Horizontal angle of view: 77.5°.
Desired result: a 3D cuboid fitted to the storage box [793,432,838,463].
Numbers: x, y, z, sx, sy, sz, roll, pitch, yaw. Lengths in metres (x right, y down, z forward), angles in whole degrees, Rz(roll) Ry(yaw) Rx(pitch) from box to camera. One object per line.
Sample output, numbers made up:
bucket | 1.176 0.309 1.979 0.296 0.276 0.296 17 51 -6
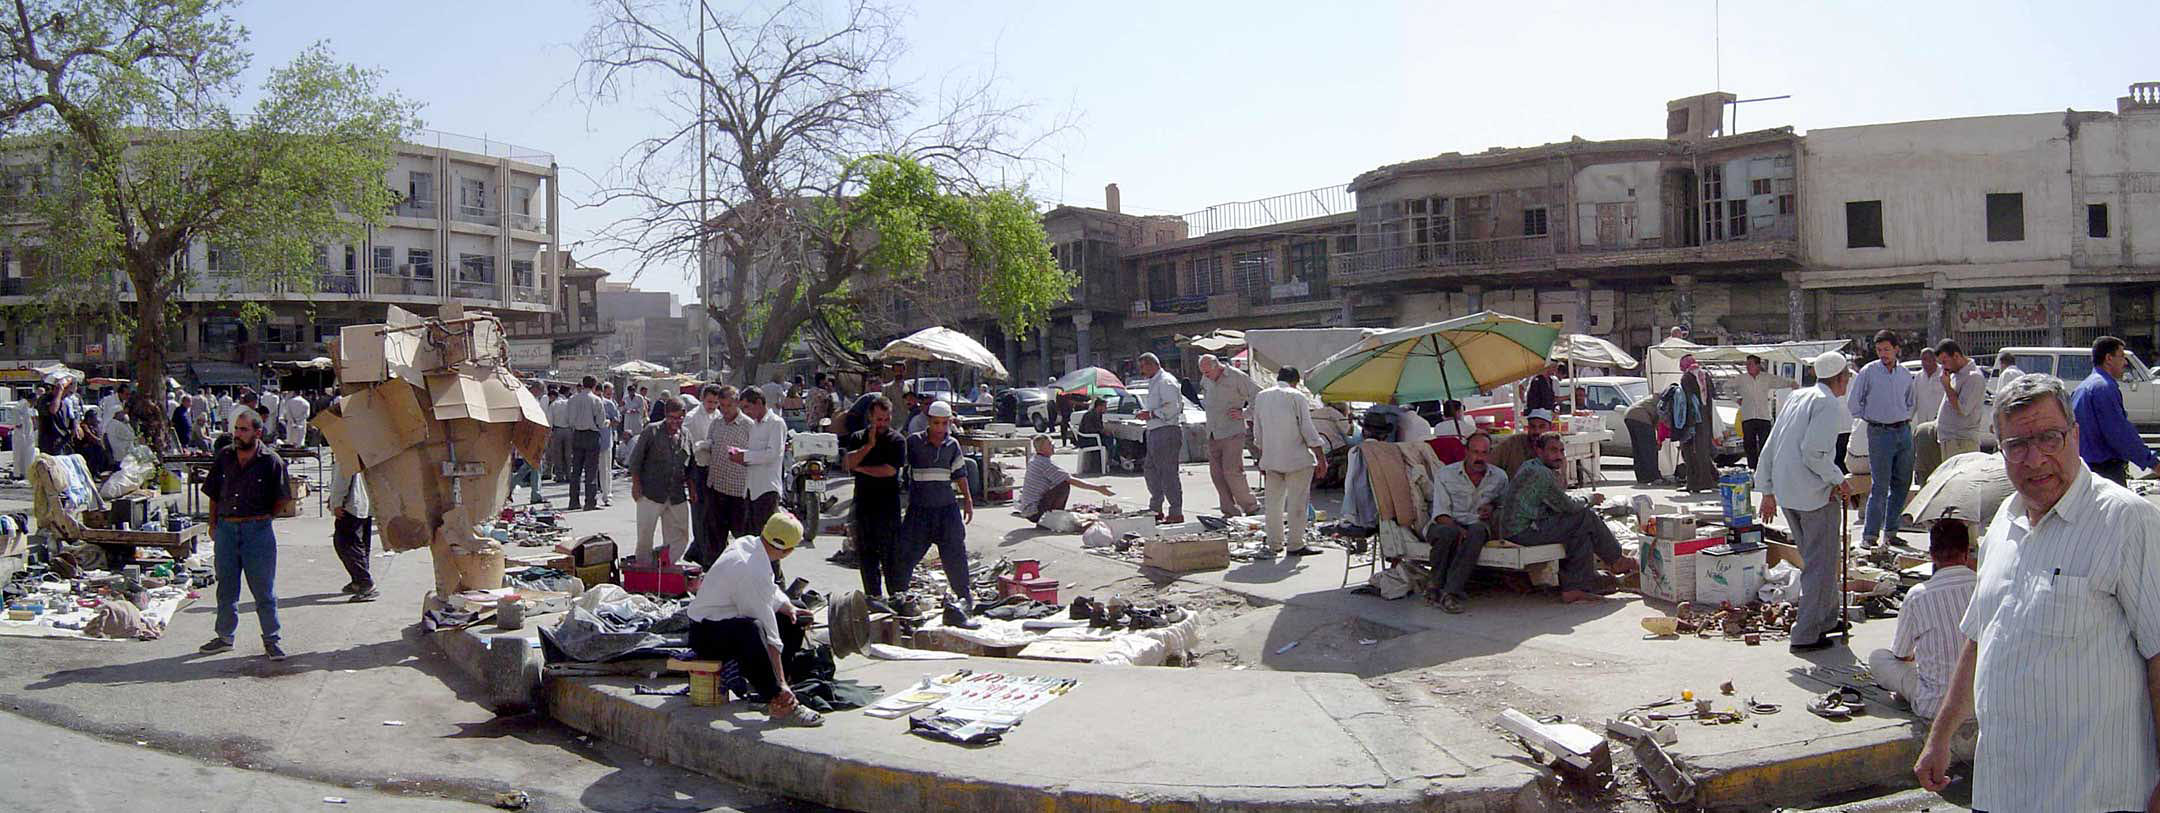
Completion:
storage box | -7.845 1.155 39.563 1.928 0.835 0.838 0 3 -3

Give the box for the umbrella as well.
umbrella | 9.783 -1.305 37.073 4.429 1.187 3.886 5 -26 -27

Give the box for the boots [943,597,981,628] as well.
boots | -3.145 5.303 34.681 0.854 0.685 0.660 -3 -1 -6
